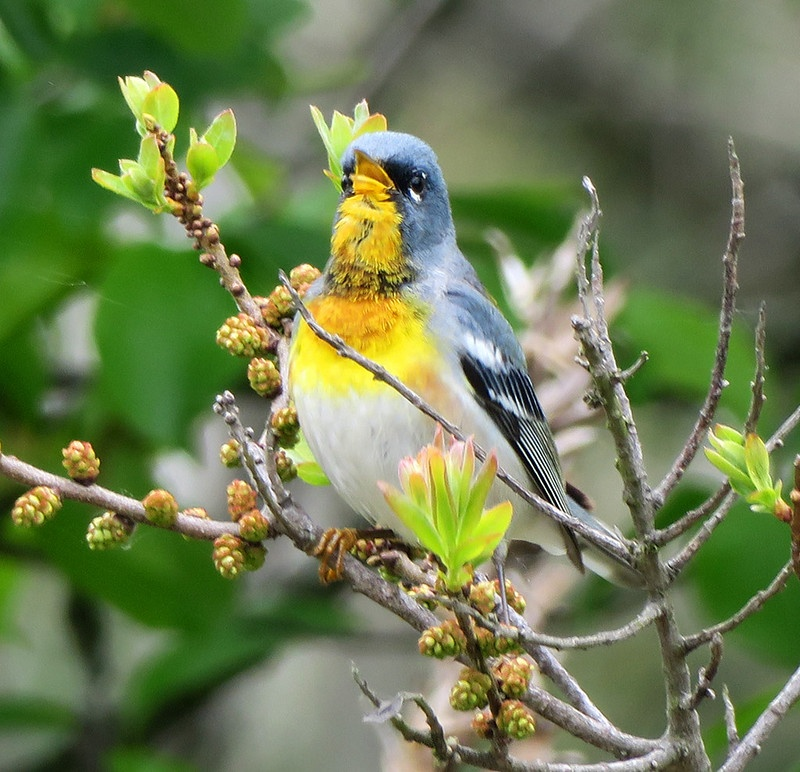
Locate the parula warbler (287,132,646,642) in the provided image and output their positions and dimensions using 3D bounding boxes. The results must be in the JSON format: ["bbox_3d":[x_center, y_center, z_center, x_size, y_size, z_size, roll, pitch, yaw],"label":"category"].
[{"bbox_3d":[0.086,-0.034,2.060,0.704,0.992,0.475,-3,1,-26],"label":"parula warbler"}]
